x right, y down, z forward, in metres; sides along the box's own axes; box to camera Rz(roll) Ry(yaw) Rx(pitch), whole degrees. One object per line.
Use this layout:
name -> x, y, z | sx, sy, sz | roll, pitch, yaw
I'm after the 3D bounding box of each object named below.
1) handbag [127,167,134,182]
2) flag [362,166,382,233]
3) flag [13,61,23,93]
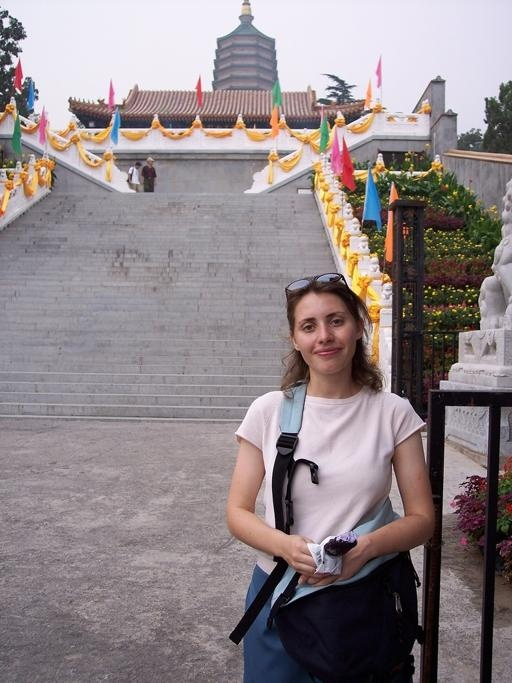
handbag -> -3.468, -4.574, 19.467 | 0.141, 0.405, 0.512 | 0, 4, -12
flag -> 2.140, -2.621, 12.945 | 0.409, 1.150, 0.223 | -7, 40, -2
flag -> -7.574, -8.505, 22.399 | 0.189, 1.079, 1.663 | -1, 4, -21
